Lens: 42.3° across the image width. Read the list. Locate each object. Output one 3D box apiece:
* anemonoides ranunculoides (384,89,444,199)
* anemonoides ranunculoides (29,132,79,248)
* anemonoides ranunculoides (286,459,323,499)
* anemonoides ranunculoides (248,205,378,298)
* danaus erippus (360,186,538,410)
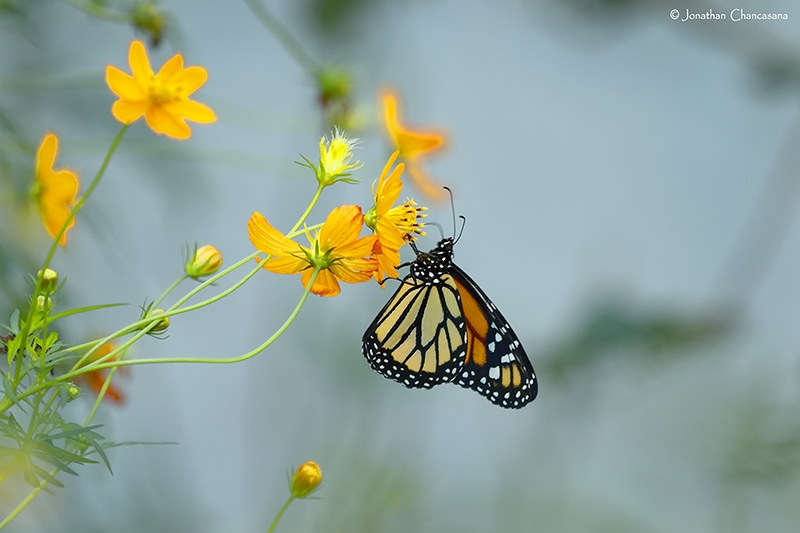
[{"bbox_3d":[0.037,-0.377,3.177,0.091,0.348,0.189,-1,13,17],"label":"anemonoides ranunculoides"},{"bbox_3d":[-0.853,-0.194,2.569,0.112,0.248,0.055,9,5,-11],"label":"anemonoides ranunculoides"},{"bbox_3d":[-0.264,0.577,2.734,0.101,0.053,0.077,-10,22,-43],"label":"anemonoides ranunculoides"},{"bbox_3d":[-0.209,-0.048,2.655,0.358,0.222,0.376,-3,-3,-22],"label":"anemonoides ranunculoides"},{"bbox_3d":[0.144,0.121,3.058,0.318,0.701,0.858,2,2,9],"label":"danaus erippus"}]
